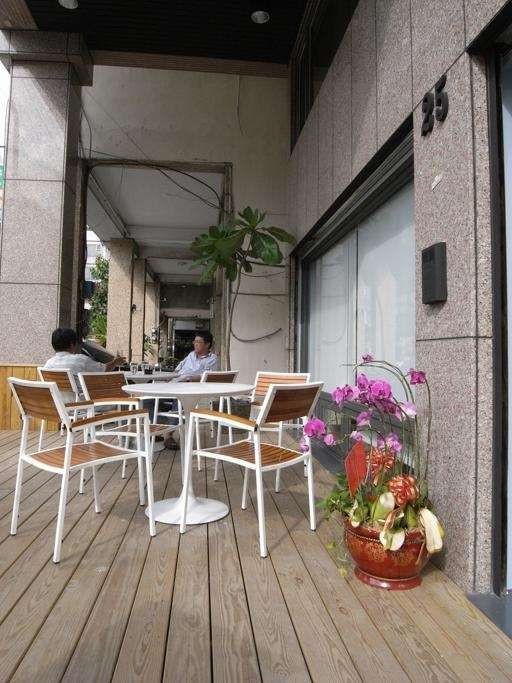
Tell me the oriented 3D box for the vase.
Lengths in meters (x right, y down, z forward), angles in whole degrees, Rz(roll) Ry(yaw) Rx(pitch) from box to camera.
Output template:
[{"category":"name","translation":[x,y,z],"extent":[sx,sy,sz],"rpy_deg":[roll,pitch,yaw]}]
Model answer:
[{"category":"vase","translation":[0.485,0.726,1.658],"extent":[0.221,0.165,0.238],"rpy_deg":[4,-11,-8]}]

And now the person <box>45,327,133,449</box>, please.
[{"category":"person","translation":[-1.477,0.285,3.842],"extent":[0.598,0.960,0.490],"rpy_deg":[2,10,14]}]

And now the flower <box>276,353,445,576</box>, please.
[{"category":"flower","translation":[0.440,0.486,2.237],"extent":[0.685,1.476,0.812],"rpy_deg":[0,-1,0]}]

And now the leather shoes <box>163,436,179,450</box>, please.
[{"category":"leather shoes","translation":[-0.766,0.911,4.143],"extent":[0.103,0.146,0.110],"rpy_deg":[0,4,10]}]

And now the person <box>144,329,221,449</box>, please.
[{"category":"person","translation":[-0.695,0.396,4.235],"extent":[0.395,1.213,0.593],"rpy_deg":[-2,-23,31]}]

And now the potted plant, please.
[{"category":"potted plant","translation":[-0.166,-0.583,4.858],"extent":[0.920,1.488,0.971],"rpy_deg":[11,10,33]}]
